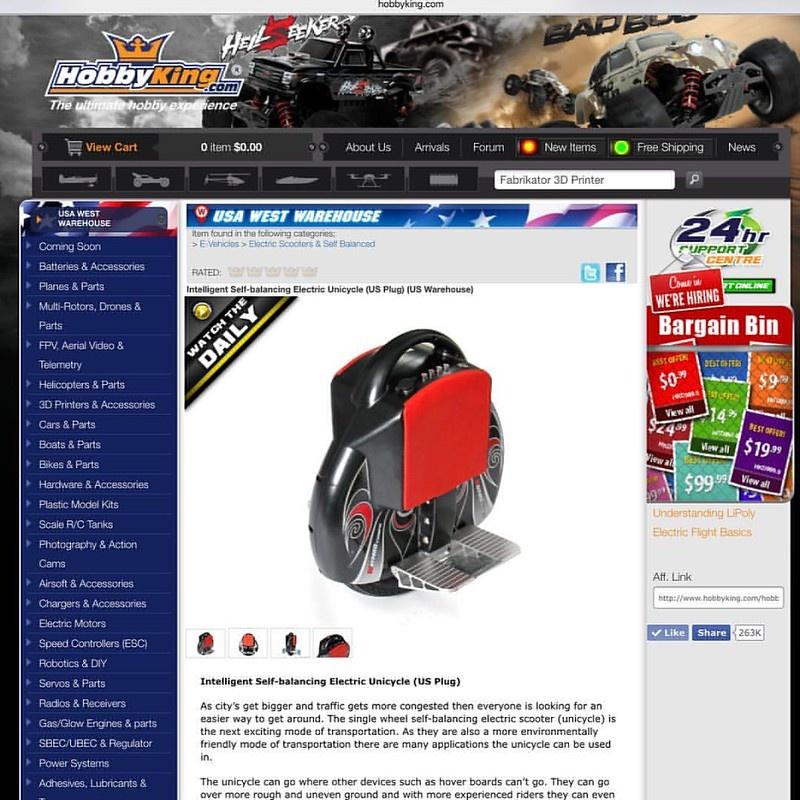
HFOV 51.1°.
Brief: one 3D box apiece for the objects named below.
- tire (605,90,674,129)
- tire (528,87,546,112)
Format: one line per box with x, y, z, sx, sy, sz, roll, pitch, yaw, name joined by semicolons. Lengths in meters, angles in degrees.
0.831;-1.027;2.942;0.071;0.132;0.120;-43;13;20;tire
0.479;-1.063;2.933;0.029;0.079;0.085;2;-15;-21;tire
